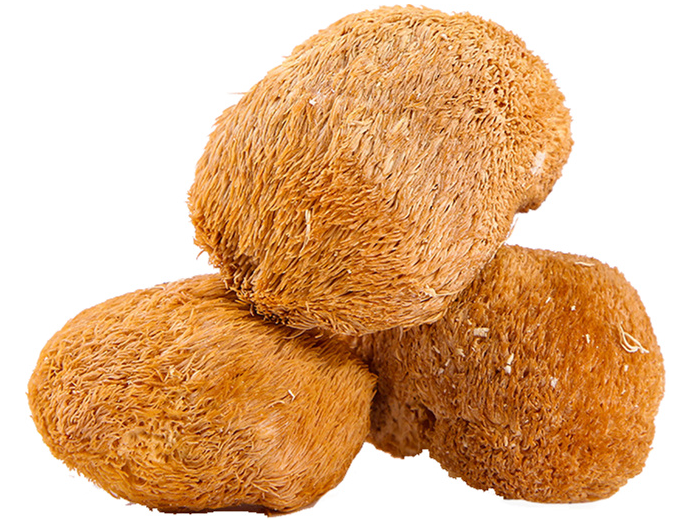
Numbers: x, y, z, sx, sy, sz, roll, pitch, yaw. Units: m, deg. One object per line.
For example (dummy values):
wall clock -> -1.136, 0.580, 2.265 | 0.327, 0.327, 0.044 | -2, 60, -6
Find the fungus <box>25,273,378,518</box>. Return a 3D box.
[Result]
fungus -> -0.455, 0.386, 2.427 | 0.742, 0.401, 0.940 | 0, -4, 43
